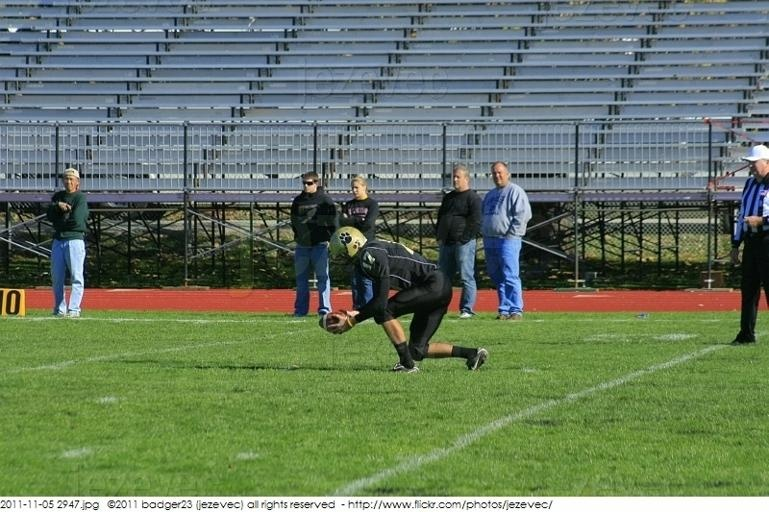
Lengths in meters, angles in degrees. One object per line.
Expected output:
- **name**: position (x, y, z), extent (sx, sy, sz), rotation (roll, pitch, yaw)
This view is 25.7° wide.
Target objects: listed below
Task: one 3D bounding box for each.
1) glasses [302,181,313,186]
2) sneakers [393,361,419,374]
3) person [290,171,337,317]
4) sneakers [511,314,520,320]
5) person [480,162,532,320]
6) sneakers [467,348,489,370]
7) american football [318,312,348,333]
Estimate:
- **glasses**: position (-1.552, -1.421, 33.479), extent (0.116, 0.091, 0.220), rotation (3, -1, -40)
- **sneakers**: position (0.392, 1.986, 30.203), extent (0.459, 0.167, 0.174), rotation (-2, -1, 5)
- **person**: position (-1.412, -0.224, 33.548), extent (0.855, 2.831, 0.921), rotation (3, -1, -14)
- **sneakers**: position (2.613, 1.195, 33.589), extent (0.142, 0.081, 0.101), rotation (6, -5, -26)
- **person**: position (2.407, -0.301, 33.755), extent (0.956, 3.077, 0.416), rotation (2, -2, 3)
- **sneakers**: position (1.676, 1.830, 30.361), extent (0.308, 0.404, 0.217), rotation (29, -8, 36)
- **american football**: position (-0.898, 1.156, 29.947), extent (0.386, 0.251, 0.434), rotation (6, -4, 3)
